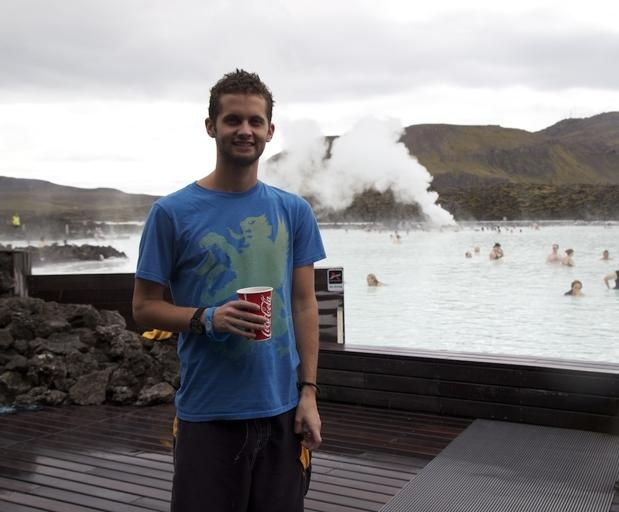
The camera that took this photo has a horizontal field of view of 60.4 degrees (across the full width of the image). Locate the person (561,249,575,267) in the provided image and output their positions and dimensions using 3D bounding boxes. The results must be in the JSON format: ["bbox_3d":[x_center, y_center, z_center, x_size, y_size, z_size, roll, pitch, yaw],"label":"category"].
[{"bbox_3d":[11.397,0.144,23.227,0.456,0.827,0.564,-8,20,-28],"label":"person"}]

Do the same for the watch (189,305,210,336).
[{"bbox_3d":[-0.294,0.175,1.394,0.040,0.071,0.070,-1,6,6],"label":"watch"}]

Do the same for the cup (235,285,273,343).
[{"bbox_3d":[-0.132,0.161,1.429,0.130,0.155,0.099,-5,7,-32],"label":"cup"}]

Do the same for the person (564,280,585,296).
[{"bbox_3d":[10.058,1.267,19.987,0.541,0.724,1.213,1,6,22],"label":"person"}]

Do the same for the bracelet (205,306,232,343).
[{"bbox_3d":[-0.253,0.188,1.441,0.085,0.093,0.059,19,-26,-28],"label":"bracelet"}]
